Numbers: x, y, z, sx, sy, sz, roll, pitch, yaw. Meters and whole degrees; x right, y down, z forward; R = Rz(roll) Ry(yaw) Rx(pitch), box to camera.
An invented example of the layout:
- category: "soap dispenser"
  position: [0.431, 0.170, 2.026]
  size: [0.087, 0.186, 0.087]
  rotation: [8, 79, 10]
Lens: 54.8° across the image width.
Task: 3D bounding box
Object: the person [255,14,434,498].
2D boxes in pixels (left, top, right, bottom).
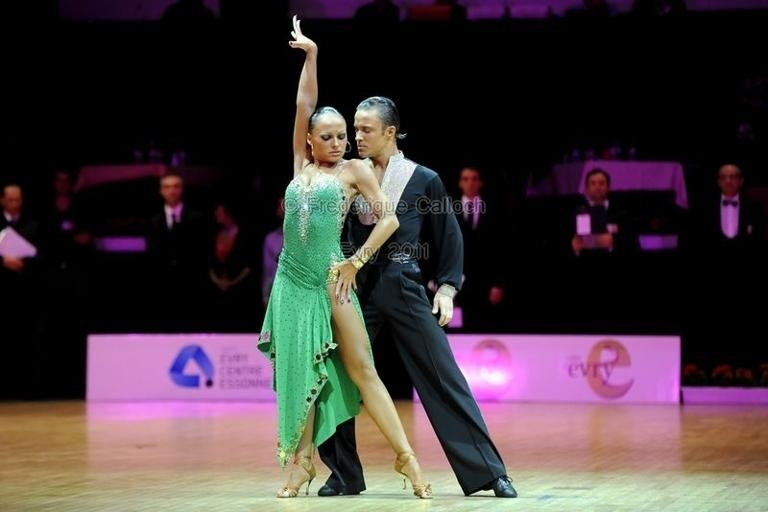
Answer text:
- category: "person"
  position: [-0.348, -0.021, 4.617]
  size: [0.888, 2.966, 0.398]
  rotation: [-1, 1, -10]

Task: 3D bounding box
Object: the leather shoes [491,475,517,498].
- category: "leather shoes"
  position: [0.735, 1.421, 4.561]
  size: [0.091, 0.068, 0.190]
  rotation: [1, -7, -18]

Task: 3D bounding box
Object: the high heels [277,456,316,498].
- category: "high heels"
  position: [-0.545, 1.354, 4.554]
  size: [0.294, 0.212, 0.116]
  rotation: [4, -10, -39]

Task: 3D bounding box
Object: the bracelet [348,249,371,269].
- category: "bracelet"
  position: [-0.147, 0.012, 4.562]
  size: [0.105, 0.139, 0.044]
  rotation: [44, 10, -4]
